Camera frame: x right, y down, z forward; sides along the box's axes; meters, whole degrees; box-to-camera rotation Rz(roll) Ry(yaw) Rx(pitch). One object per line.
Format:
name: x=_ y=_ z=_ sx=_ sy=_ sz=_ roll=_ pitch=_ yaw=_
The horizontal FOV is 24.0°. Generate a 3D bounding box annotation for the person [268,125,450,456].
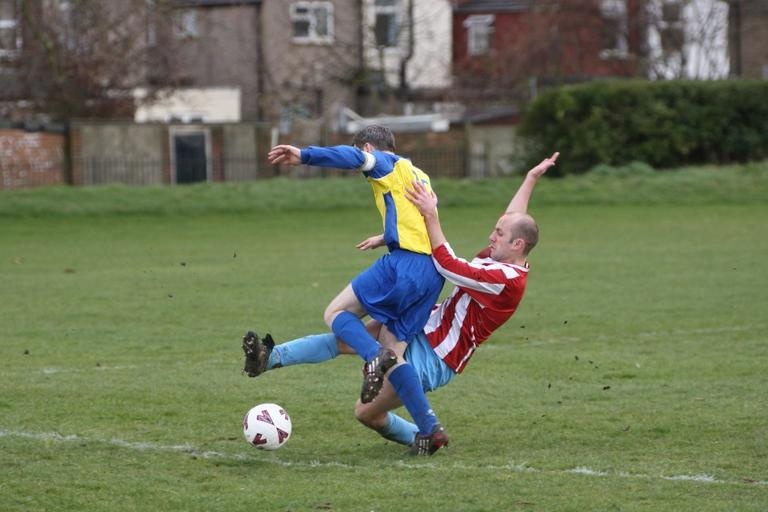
person: x=-0.034 y=0.311 z=17.219 sx=1.212 sy=3.041 sz=0.620 roll=-5 pitch=0 yaw=0

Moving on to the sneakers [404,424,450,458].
sneakers: x=0.457 y=1.733 z=17.062 sx=0.480 sy=0.167 sz=0.222 roll=-30 pitch=21 yaw=8

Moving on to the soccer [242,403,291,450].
soccer: x=-1.168 y=1.623 z=17.460 sx=0.631 sy=0.433 sz=0.615 roll=1 pitch=-4 yaw=-30
